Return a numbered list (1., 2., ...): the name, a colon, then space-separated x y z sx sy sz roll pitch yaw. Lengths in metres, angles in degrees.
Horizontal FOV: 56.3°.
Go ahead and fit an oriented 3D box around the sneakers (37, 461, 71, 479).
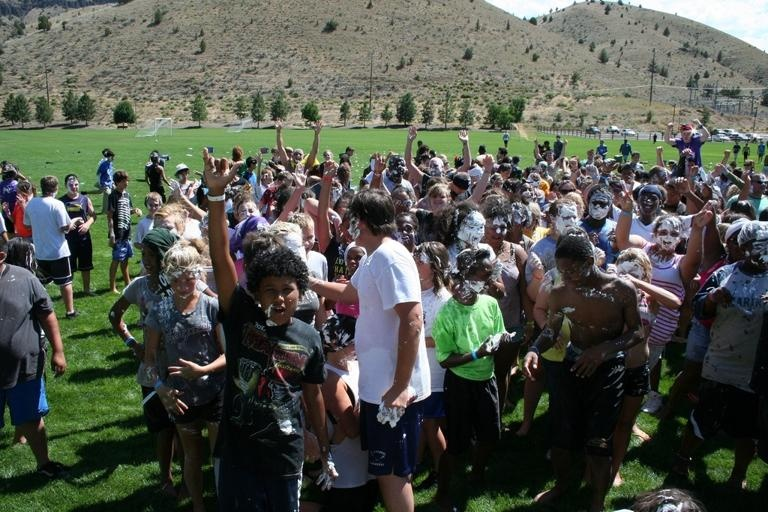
1. sneakers: -5.024 3.256 10.837 0.494 0.266 0.212 8 28 -15
